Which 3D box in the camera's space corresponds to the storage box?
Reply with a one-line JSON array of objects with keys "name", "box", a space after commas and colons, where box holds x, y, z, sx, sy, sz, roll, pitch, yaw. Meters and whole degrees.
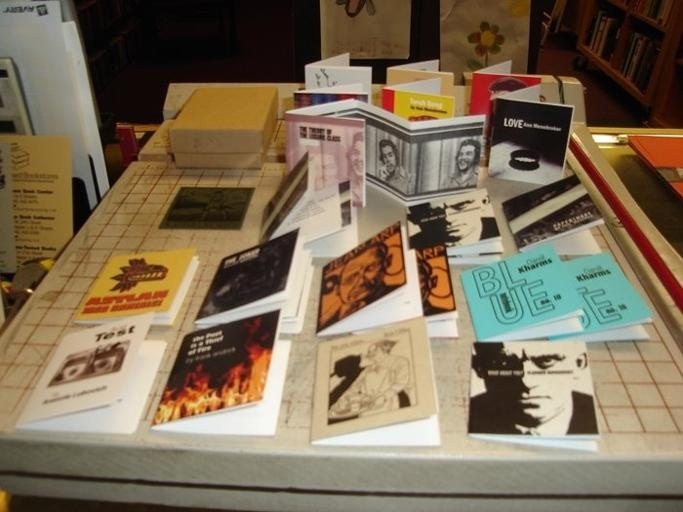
[{"name": "storage box", "box": [-0.505, -0.488, 2.306, 0.388, 0.177, 0.509, -1, 43, 6]}]
